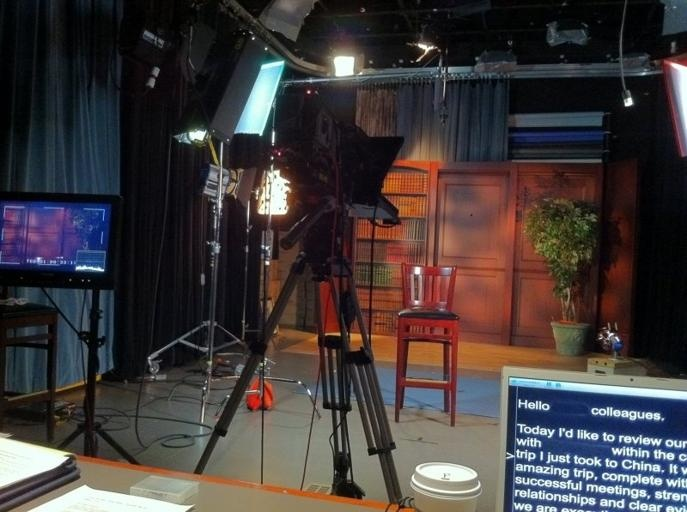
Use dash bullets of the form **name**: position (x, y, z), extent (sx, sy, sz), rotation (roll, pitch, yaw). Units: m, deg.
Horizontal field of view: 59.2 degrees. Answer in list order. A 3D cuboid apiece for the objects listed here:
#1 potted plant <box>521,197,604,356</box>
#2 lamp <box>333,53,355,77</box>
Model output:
- **potted plant**: position (2.697, 0.265, 7.243), extent (0.680, 1.738, 0.893), rotation (-1, 1, -26)
- **lamp**: position (0.005, -2.323, 7.450), extent (0.229, 0.219, 0.240), rotation (0, -1, 3)
